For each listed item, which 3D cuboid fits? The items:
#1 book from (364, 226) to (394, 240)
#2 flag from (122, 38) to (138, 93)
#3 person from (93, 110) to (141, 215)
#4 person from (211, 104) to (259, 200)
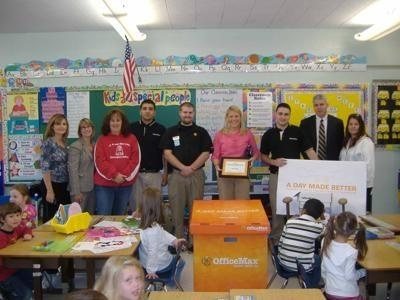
[{"bbox_3d":[1.821,0.857,3.611,0.199,0.047,0.198,-1,1,-4],"label":"book"},{"bbox_3d":[-1.070,-1.237,5.297,0.170,0.838,0.349,-2,7,2],"label":"flag"},{"bbox_3d":[-1.104,0.185,4.670,0.623,1.408,0.425,-5,8,-17],"label":"person"},{"bbox_3d":[0.483,0.329,4.982,0.635,1.826,0.573,-1,8,1],"label":"person"}]
